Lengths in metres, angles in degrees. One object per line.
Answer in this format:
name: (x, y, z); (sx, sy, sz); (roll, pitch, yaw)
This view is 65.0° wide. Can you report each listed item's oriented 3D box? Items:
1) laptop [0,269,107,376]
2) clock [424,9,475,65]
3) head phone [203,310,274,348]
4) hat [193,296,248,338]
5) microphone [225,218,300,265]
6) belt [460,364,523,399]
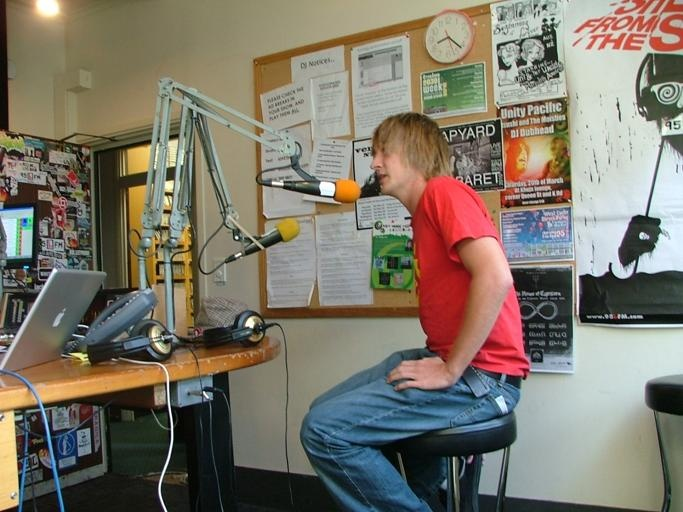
laptop: (-1.040, 0.247, 1.932); (0.186, 0.195, 0.268); (27, -5, 4)
clock: (0.545, -1.096, 2.714); (0.245, 0.288, 0.029); (1, -4, 17)
head phone: (-0.393, 0.285, 2.024); (0.188, 0.086, 0.156); (-24, 5, -41)
hat: (-0.503, 0.226, 2.165); (0.137, 0.104, 0.185); (-2, 4, 0)
microphone: (-0.379, -0.076, 2.695); (0.321, 0.100, 0.097); (-28, -22, -6)
belt: (0.507, 0.408, 1.803); (0.138, 0.061, 0.112); (24, -5, 3)
